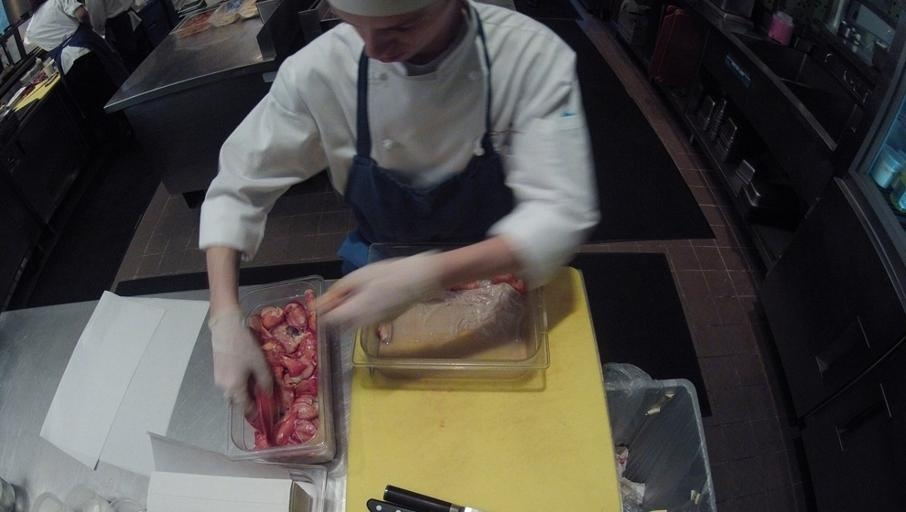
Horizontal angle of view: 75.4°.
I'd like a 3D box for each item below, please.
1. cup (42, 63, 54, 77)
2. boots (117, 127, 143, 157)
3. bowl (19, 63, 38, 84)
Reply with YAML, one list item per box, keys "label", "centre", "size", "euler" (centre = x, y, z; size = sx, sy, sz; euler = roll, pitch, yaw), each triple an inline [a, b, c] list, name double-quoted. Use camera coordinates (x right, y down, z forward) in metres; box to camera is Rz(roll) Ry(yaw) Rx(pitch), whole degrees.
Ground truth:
- label: "cup"
  centre: [-3.252, -1.481, 4.679]
  size: [0.075, 0.113, 0.103]
  euler: [-12, 23, -13]
- label: "boots"
  centre: [-2.771, -0.967, 4.968]
  size: [0.147, 0.108, 0.401]
  euler: [-26, 43, -21]
- label: "bowl"
  centre: [-3.309, -1.413, 4.572]
  size: [0.060, 0.051, 0.250]
  euler: [-13, 40, -6]
